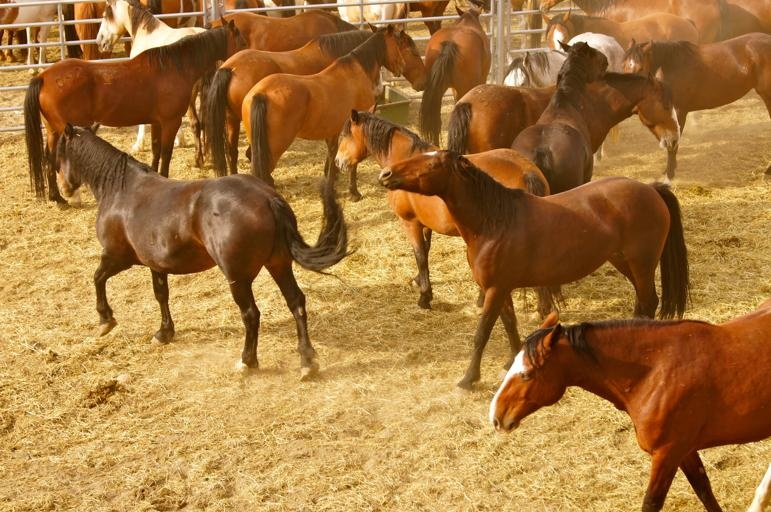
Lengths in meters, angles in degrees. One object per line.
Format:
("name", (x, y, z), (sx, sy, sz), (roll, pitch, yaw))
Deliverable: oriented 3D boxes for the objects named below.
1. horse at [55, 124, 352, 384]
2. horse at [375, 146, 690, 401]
("horse", (-1.979, -0.110, 9.295), (3.084, 2.439, 0.970), (7, 15, 27))
("horse", (1.626, 0.063, 8.921), (3.270, 2.337, 0.891), (-5, 11, -12))
